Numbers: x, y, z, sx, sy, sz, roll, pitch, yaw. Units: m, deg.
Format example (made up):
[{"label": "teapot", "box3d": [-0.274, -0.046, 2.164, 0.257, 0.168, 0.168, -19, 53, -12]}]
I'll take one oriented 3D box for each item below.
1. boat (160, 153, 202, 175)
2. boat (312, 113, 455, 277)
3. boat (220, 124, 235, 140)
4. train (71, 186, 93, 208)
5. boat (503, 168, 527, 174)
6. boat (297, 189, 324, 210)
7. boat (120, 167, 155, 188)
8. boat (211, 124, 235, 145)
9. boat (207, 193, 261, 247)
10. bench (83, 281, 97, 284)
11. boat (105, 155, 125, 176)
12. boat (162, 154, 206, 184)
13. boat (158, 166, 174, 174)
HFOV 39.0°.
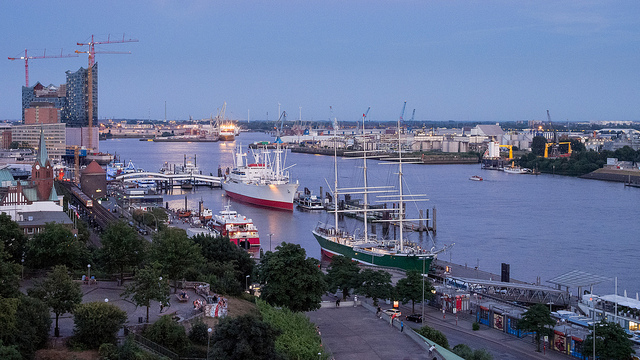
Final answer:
[{"label": "boat", "box3d": [-26.780, -2.297, 170.364, 10.800, 3.799, 3.218, -1, 1, 42]}, {"label": "boat", "box3d": [6.542, 4.552, 105.013, 5.464, 11.166, 21.275, -4, 8, -39]}, {"label": "boat", "box3d": [-34.974, -16.946, 336.513, 4.288, 5.124, 6.584, -3, 5, -34]}, {"label": "train", "box3d": [-33.942, 2.690, 128.231, 0.805, 0.817, 6.067, -11, 27, -32]}, {"label": "boat", "box3d": [41.945, -1.607, 193.100, 4.632, 0.794, 1.270, 6, 6, 36]}, {"label": "boat", "box3d": [-1.594, 3.305, 140.649, 3.336, 3.176, 9.758, 0, -1, -16]}, {"label": "boat", "box3d": [-32.530, 0.065, 161.838, 4.541, 2.634, 7.164, 2, 0, -15]}, {"label": "boat", "box3d": [-35.533, -15.859, 338.428, 7.415, 5.741, 12.062, -1, 3, -22]}, {"label": "boat", "box3d": [-10.667, 5.383, 115.042, 4.404, 5.807, 13.261, 0, 9, -13]}, {"label": "bench", "box3d": [-22.558, 9.970, 87.680, 1.132, 0.236, 0.274, 0, 4, -7]}, {"label": "boat", "box3d": [-39.050, -2.553, 171.643, 4.427, 3.031, 8.078, 1, -2, -15]}, {"label": "boat", "box3d": [-26.866, -1.858, 167.163, 12.151, 3.414, 3.554, -4, 13, -29]}, {"label": "boat", "box3d": [-29.496, -1.421, 172.242, 2.451, 0.947, 3.395, 1, 5, -15]}]
